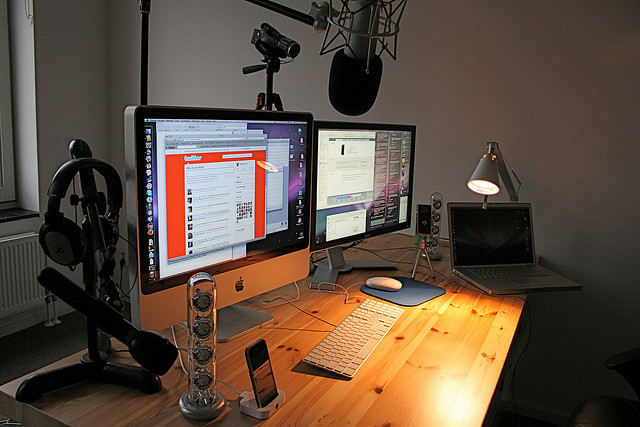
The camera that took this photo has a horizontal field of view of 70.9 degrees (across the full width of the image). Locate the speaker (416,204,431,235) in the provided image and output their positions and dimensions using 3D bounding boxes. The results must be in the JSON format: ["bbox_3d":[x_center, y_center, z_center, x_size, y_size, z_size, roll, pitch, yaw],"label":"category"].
[{"bbox_3d":[0.502,0.030,2.175,0.071,0.145,0.061,2,17,12],"label":"speaker"}]

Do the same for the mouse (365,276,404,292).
[{"bbox_3d":[0.282,0.296,1.953,0.118,0.029,0.067,5,15,18],"label":"mouse"}]

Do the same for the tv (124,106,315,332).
[{"bbox_3d":[-0.402,-0.034,1.684,0.293,0.712,0.827,11,15,36],"label":"tv"}]

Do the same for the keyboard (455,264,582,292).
[{"bbox_3d":[0.891,0.288,2.052,0.468,0.031,0.242,-4,16,-9],"label":"keyboard"}]

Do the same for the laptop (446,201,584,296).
[{"bbox_3d":[0.876,0.141,2.034,0.509,0.327,0.423,-2,7,-19],"label":"laptop"}]

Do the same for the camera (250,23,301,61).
[{"bbox_3d":[-0.208,-0.750,1.987,0.139,0.126,0.263,-4,41,-41],"label":"camera"}]

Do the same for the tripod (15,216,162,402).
[{"bbox_3d":[-0.693,0.310,1.421,0.304,0.551,0.391,-3,13,-30],"label":"tripod"}]

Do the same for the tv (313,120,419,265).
[{"bbox_3d":[0.267,-0.084,2.143,0.224,0.686,0.712,1,-4,-38],"label":"tv"}]
